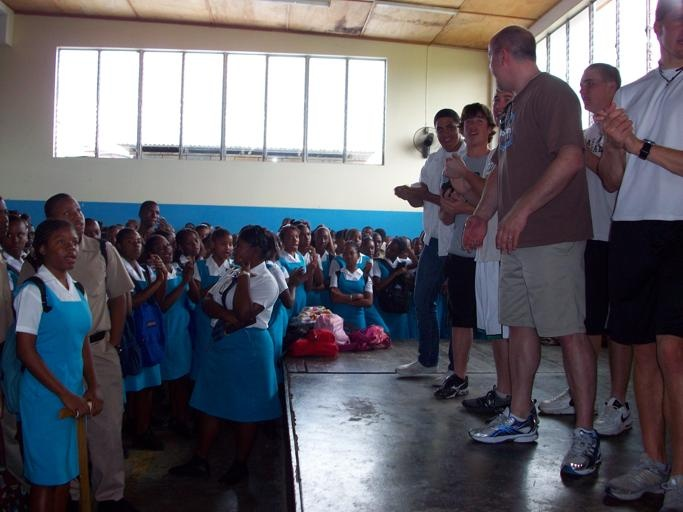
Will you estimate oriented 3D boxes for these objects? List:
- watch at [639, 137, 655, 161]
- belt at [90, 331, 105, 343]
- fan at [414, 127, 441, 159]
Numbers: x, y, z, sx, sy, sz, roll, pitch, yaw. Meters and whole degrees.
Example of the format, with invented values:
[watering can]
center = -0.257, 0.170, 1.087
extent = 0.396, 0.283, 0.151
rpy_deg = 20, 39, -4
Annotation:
[watch]
center = 1.178, -0.414, 2.018
extent = 0.046, 0.080, 0.078
rpy_deg = 20, -8, 26
[belt]
center = -1.329, 0.445, 2.828
extent = 0.059, 0.033, 0.086
rpy_deg = -7, -11, -22
[fan]
center = 1.707, -2.532, 11.358
extent = 0.492, 0.574, 0.492
rpy_deg = -10, 12, 37
